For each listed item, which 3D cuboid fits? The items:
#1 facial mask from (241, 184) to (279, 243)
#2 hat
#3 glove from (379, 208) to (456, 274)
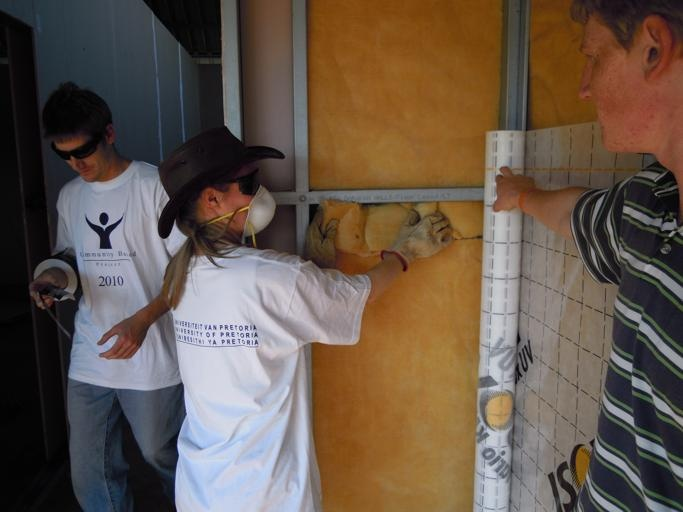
[{"bbox_3d":[-0.318,-0.167,2.581,0.167,0.108,0.160,-35,23,3],"label":"facial mask"},{"bbox_3d":[-0.468,-0.294,2.473,0.460,0.398,0.189,-6,6,-20],"label":"hat"},{"bbox_3d":[0.338,-0.088,2.808,0.212,0.319,0.139,36,-10,13],"label":"glove"}]
